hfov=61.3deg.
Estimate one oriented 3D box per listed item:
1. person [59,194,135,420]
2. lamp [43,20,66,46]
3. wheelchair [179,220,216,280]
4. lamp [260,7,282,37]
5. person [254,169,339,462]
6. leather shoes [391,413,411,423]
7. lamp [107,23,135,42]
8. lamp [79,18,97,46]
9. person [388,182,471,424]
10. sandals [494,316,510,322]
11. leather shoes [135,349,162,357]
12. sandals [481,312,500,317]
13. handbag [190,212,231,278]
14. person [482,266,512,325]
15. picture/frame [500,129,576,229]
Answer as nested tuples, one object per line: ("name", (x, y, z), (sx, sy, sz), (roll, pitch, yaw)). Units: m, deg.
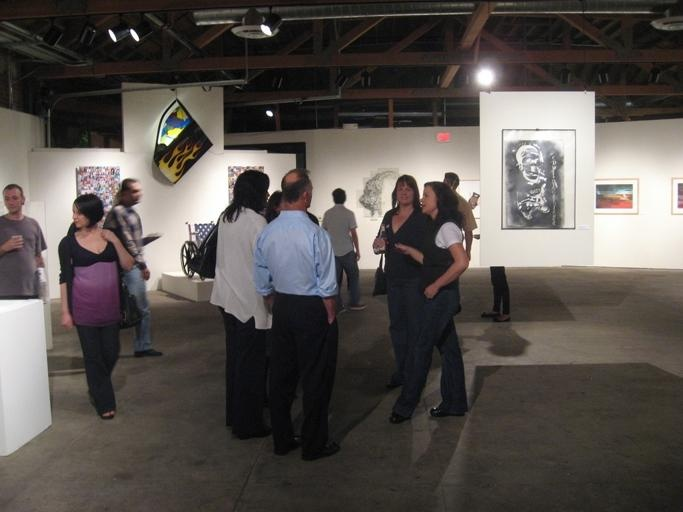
("person", (-2.118, 0.564, 5.045), (0.584, 1.684, 0.259), (-4, 7, -29))
("lamp", (-4.425, -3.408, 8.810), (0.255, 0.368, 0.493), (-2, 7, -10))
("wheelchair", (-2.164, -0.121, 8.864), (0.610, 0.776, 0.849), (6, 10, 2))
("lamp", (-1.051, -3.519, 8.621), (0.234, 0.473, 0.577), (0, 7, 9))
("person", (-0.339, 0.587, 4.344), (0.623, 1.863, 0.283), (-1, 6, 0))
("leather shoes", (0.495, 1.349, 4.872), (0.171, 0.080, 0.065), (0, 2, -17))
("lamp", (-3.409, -3.456, 8.972), (0.343, 0.196, 0.493), (-1, 8, 0))
("lamp", (-4.044, -3.562, 9.161), (0.249, 0.302, 0.477), (-4, 8, -23))
("person", (0.758, 0.380, 4.926), (0.642, 2.001, 0.606), (1, 6, 13))
("sandals", (2.234, 0.868, 8.007), (0.216, 0.093, 0.083), (4, -3, 0))
("leather shoes", (-2.241, 1.110, 6.746), (0.311, 0.136, 0.117), (-2, -2, -8))
("sandals", (2.141, 0.839, 8.221), (0.282, 0.115, 0.106), (2, -4, 11))
("handbag", (-1.182, -0.070, 4.754), (0.252, 0.374, 0.355), (-4, 18, 28))
("person", (2.169, 0.484, 8.048), (0.397, 0.847, 1.076), (1, 7, 17))
("picture/frame", (1.937, -0.800, 5.639), (0.875, 1.254, 0.052), (0, 4, 0))
